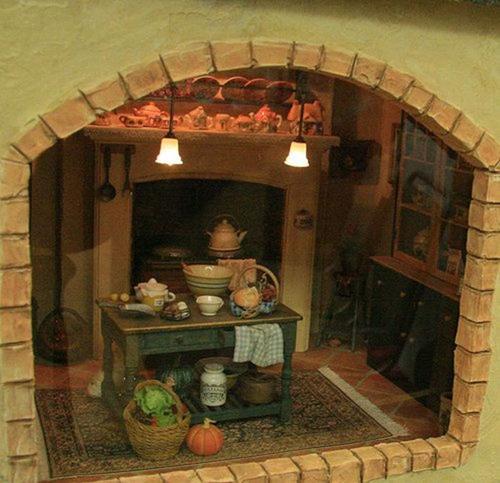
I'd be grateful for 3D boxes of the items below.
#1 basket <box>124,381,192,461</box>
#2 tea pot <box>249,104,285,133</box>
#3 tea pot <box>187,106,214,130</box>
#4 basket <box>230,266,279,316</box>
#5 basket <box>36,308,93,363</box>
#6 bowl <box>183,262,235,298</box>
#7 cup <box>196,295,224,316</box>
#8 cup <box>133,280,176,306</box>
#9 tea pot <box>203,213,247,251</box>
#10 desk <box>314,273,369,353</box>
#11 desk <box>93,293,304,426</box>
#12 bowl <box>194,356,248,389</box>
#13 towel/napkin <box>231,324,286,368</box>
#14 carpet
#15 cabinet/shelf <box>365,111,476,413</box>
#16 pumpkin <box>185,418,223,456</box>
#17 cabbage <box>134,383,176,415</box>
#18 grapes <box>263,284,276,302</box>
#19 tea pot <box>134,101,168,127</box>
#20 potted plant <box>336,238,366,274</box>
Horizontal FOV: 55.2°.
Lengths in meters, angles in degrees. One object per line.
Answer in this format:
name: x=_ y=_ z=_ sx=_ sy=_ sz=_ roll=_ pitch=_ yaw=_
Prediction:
basket: x=-0.604 y=1.152 z=3.159 sx=0.438 sy=0.384 sz=0.391 roll=3 pitch=-1 yaw=19
tea pot: x=0.163 y=-1.219 z=4.732 sx=0.403 sy=0.265 sz=0.247 roll=0 pitch=6 yaw=-8
tea pot: x=-0.426 y=-1.189 z=4.615 sx=0.322 sy=0.213 sz=0.203 roll=2 pitch=8 yaw=2
basket: x=0.051 y=0.404 z=3.931 sx=0.579 sy=0.403 sz=0.427 roll=0 pitch=11 yaw=2
basket: x=-1.828 y=0.878 z=4.677 sx=0.591 sy=0.471 sz=0.550 roll=3 pitch=0 yaw=27
bowl: x=-0.351 y=0.314 z=3.980 sx=0.383 sy=0.177 sz=0.342 roll=2 pitch=0 yaw=-4
cup: x=-0.311 y=0.485 z=3.671 sx=0.186 sy=0.073 sz=0.168 roll=2 pitch=-4 yaw=-2
cup: x=-0.732 y=0.404 z=3.758 sx=0.307 sy=0.127 sz=0.200 roll=10 pitch=12 yaw=18
tea pot: x=-0.238 y=-0.085 z=5.154 sx=0.513 sy=0.337 sz=0.313 roll=6 pitch=23 yaw=20
desk: x=0.985 y=0.917 z=5.483 sx=0.766 sy=0.571 sz=0.587 roll=7 pitch=39 yaw=8
desk: x=-0.398 y=0.980 z=3.839 sx=1.521 sy=0.685 sz=0.885 roll=3 pitch=0 yaw=-24
bowl: x=-0.229 y=1.082 z=3.926 sx=0.583 sy=0.153 sz=0.482 roll=1 pitch=2 yaw=0
towel/napkin: x=0.067 y=0.788 z=3.651 sx=0.524 sy=0.310 sz=0.072 roll=12 pitch=-20 yaw=-39
carpet: x=-0.187 y=1.346 z=3.713 sx=2.665 sy=0.084 sz=1.229 roll=2 pitch=7 yaw=-24
cabinet/shelf: x=1.593 y=0.093 z=4.486 sx=0.544 sy=2.682 sz=1.321 roll=9 pitch=8 yaw=-6
pumpkin: x=-0.305 y=1.295 z=3.220 sx=0.287 sy=0.194 sz=0.233 roll=-5 pitch=6 yaw=-15
cabbage: x=-0.589 y=0.980 z=3.013 sx=0.281 sy=0.191 sz=0.102 roll=-15 pitch=5 yaw=4
grapes: x=0.156 y=0.412 z=3.801 sx=0.135 sy=0.111 sz=0.052 roll=1 pitch=-10 yaw=-15
tea pot: x=-0.908 y=-1.165 z=4.474 sx=0.344 sy=0.155 sz=0.284 roll=0 pitch=10 yaw=-10
potted plant: x=1.132 y=0.172 z=5.387 sx=0.312 sy=0.440 sz=0.129 roll=10 pitch=8 yaw=8
